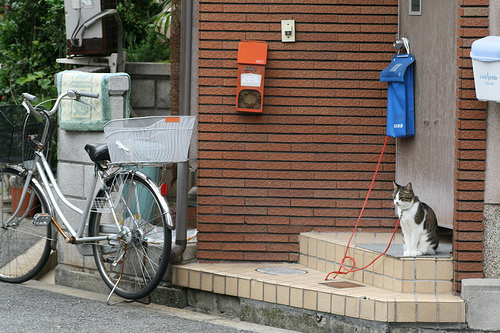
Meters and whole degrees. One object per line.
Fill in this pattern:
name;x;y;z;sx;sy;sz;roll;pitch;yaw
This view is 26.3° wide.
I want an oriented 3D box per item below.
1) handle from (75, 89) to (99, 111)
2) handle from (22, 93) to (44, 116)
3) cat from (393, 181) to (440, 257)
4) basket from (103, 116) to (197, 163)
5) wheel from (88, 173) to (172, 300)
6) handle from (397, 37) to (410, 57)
handle;-1.953;-0.860;12.685;0.238;0.232;0.066;8;24;6
handle;-2.594;-0.724;12.734;0.142;0.092;0.469;-9;-24;25
cat;1.867;0.616;12.027;0.559;0.487;0.813;-1;41;-1
basket;-1.179;-0.309;12.107;1.003;0.562;0.270;3;2;-5
wheel;-1.333;0.813;12.468;1.085;1.473;0.506;4;2;34
handle;1.836;-1.446;12.825;0.157;0.201;0.053;1;14;17
